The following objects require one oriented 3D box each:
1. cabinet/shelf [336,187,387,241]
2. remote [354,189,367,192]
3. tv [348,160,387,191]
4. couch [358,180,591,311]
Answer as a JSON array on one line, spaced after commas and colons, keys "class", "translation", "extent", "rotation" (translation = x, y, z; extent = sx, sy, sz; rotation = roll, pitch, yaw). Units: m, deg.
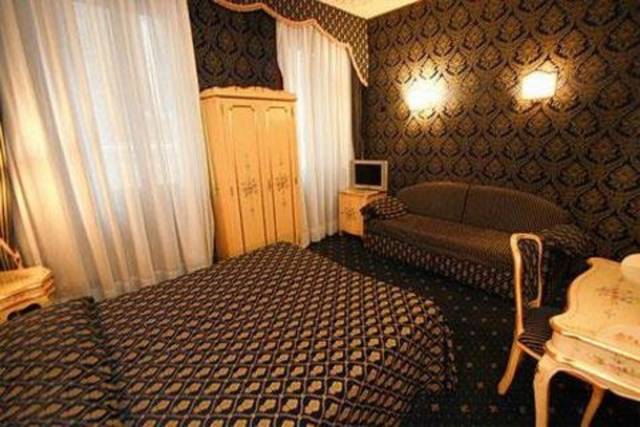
[{"class": "cabinet/shelf", "translation": [0.606, -0.017, 6.463], "extent": [0.581, 0.742, 0.627], "rotation": [-12, 21, -36]}, {"class": "remote", "translation": [0.610, -0.369, 6.300], "extent": [0.081, 0.021, 0.083], "rotation": [-14, 20, -37]}, {"class": "tv", "translation": [0.746, -0.601, 6.275], "extent": [0.457, 0.337, 0.081], "rotation": [8, 17, 41]}, {"class": "couch", "translation": [1.770, 0.201, 5.478], "extent": [0.973, 1.222, 2.908], "rotation": [-9, 16, -38]}]
